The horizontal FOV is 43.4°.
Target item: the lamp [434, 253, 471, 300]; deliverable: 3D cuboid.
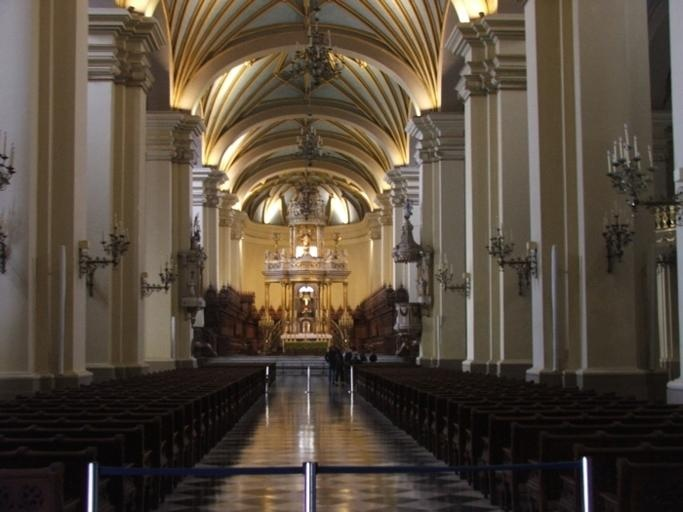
[{"bbox_3d":[2.719,0.543,21.094,0.905,1.431,0.775,2,-9,-12],"label":"lamp"}]
